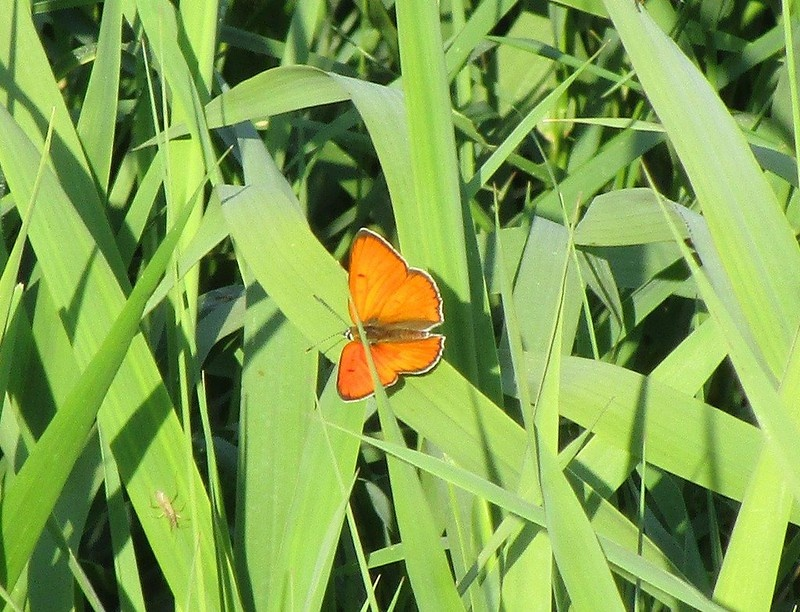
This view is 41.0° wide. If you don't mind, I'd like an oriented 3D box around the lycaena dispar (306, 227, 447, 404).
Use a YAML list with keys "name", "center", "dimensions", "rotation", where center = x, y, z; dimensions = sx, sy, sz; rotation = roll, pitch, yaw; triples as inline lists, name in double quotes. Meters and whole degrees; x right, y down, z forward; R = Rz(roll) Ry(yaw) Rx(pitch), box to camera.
- name: "lycaena dispar"
  center: [-0.012, 0.032, 1.105]
  dimensions: [0.108, 0.063, 0.236]
  rotation: [5, 44, 9]
